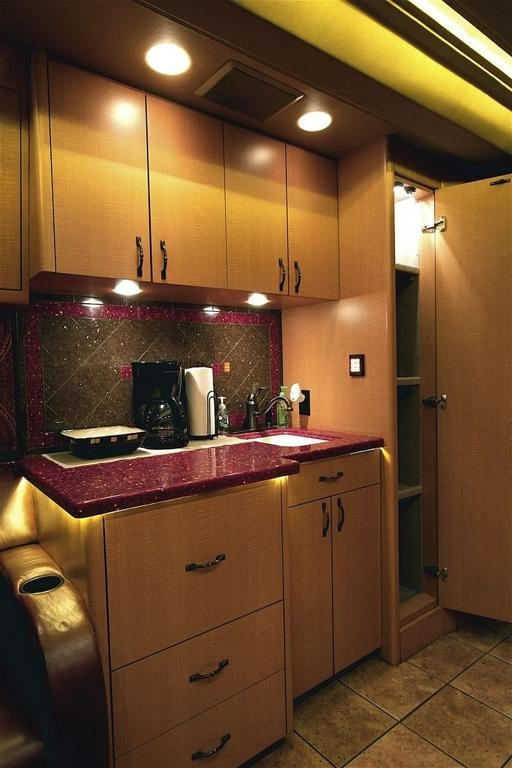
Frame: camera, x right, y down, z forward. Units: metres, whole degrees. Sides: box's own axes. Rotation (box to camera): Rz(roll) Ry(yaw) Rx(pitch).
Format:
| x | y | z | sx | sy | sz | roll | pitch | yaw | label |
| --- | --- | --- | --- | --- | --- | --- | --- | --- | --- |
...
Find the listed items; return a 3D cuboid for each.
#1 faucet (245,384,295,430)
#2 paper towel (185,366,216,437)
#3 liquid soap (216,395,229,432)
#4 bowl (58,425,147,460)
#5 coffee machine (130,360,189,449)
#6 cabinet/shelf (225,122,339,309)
| x | y | z | sx | sy | sz | roll | pitch | yaw | label |
| --- | --- | --- | --- | --- | --- | --- | --- | --- | --- |
| 0.049 | 0.110 | 2.846 | 0.177 | 0.253 | 0.250 | 1 | 2 | 40 | faucet |
| -0.221 | 0.086 | 2.445 | 0.134 | 0.288 | 0.115 | -4 | -3 | 42 | paper towel |
| -0.151 | 0.138 | 2.626 | 0.039 | 0.158 | 0.071 | -1 | 6 | 4 | liquid soap |
| -0.537 | 0.203 | 2.081 | 0.277 | 0.095 | 0.314 | -4 | 6 | -22 | bowl |
| -0.379 | 0.078 | 2.249 | 0.219 | 0.321 | 0.183 | -2 | 6 | -2 | coffee machine |
| 0.094 | -0.692 | 2.366 | 0.578 | 0.595 | 0.220 | -1 | 4 | -37 | cabinet/shelf |
